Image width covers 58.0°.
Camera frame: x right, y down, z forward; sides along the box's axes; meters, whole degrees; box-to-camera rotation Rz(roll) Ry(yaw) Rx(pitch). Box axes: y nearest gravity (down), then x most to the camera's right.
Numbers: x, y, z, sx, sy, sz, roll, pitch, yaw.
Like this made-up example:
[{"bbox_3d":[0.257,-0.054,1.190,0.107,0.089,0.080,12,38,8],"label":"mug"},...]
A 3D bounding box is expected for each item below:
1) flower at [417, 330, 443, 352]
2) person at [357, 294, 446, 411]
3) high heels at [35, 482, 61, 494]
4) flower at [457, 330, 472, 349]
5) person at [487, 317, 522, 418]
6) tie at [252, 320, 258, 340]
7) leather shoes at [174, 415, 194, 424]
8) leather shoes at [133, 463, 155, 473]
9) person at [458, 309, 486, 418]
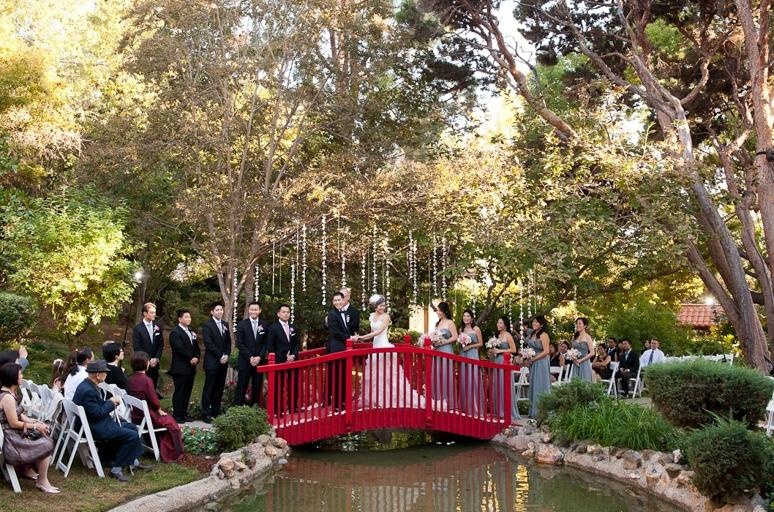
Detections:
[{"bbox_3d":[0.986,1.769,15.012,0.402,0.394,0.432,-5,-21,-3],"label":"flower"},{"bbox_3d":[0.132,1.952,14.211,1.442,2.213,0.615,3,11,-7],"label":"person"},{"bbox_3d":[-5.069,3.469,10.495,0.334,0.151,0.160,0,-8,15],"label":"high heels"},{"bbox_3d":[1.718,1.828,15.354,0.286,0.321,0.306,-1,-6,4],"label":"flower"},{"bbox_3d":[2.413,2.428,15.108,0.642,2.192,0.680,-1,0,-20],"label":"person"},{"bbox_3d":[-2.687,1.481,14.312,0.150,0.300,0.069,1,-8,-12],"label":"tie"},{"bbox_3d":[-4.048,3.257,13.954,0.388,0.177,0.120,4,-6,-26],"label":"leather shoes"},{"bbox_3d":[-3.998,3.469,11.532,0.321,0.145,0.131,1,2,-12],"label":"leather shoes"},{"bbox_3d":[1.837,2.270,15.135,0.637,1.860,1.586,6,11,6],"label":"person"}]
